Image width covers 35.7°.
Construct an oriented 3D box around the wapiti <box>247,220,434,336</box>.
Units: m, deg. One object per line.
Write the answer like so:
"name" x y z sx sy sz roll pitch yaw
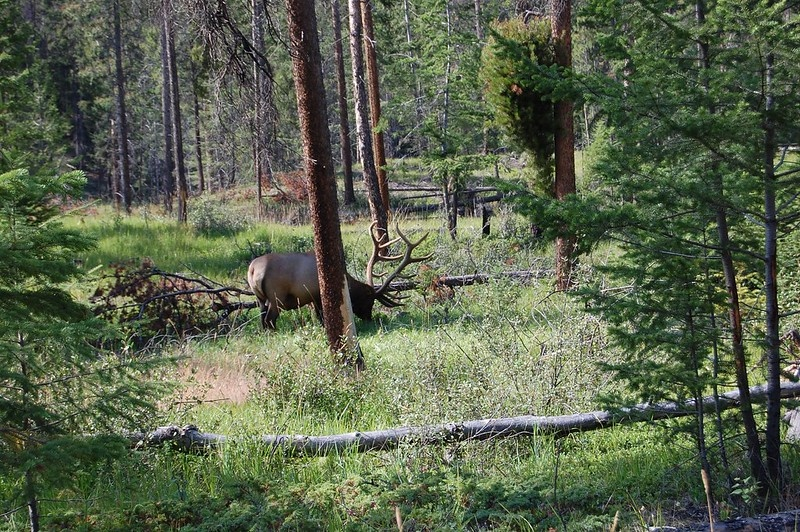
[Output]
"wapiti" -1.595 0.562 29.767 3.875 3.292 2.754 5 3 -17
